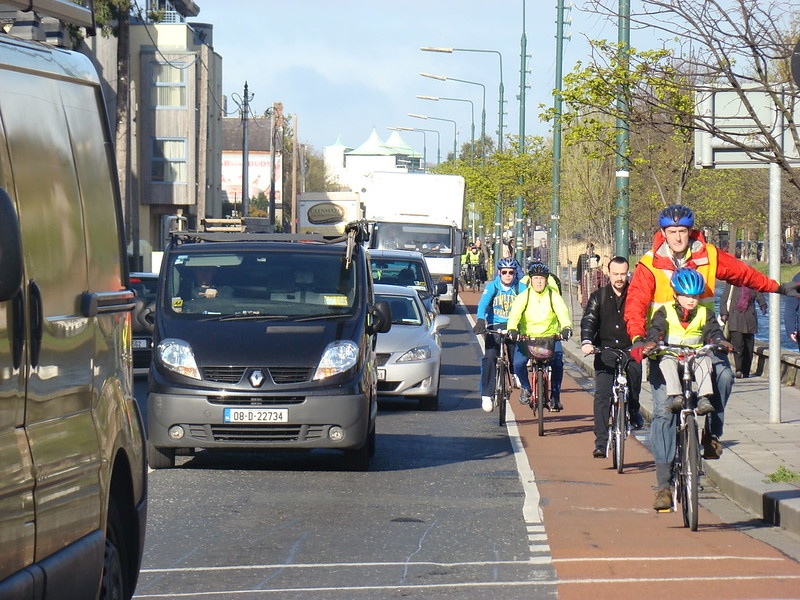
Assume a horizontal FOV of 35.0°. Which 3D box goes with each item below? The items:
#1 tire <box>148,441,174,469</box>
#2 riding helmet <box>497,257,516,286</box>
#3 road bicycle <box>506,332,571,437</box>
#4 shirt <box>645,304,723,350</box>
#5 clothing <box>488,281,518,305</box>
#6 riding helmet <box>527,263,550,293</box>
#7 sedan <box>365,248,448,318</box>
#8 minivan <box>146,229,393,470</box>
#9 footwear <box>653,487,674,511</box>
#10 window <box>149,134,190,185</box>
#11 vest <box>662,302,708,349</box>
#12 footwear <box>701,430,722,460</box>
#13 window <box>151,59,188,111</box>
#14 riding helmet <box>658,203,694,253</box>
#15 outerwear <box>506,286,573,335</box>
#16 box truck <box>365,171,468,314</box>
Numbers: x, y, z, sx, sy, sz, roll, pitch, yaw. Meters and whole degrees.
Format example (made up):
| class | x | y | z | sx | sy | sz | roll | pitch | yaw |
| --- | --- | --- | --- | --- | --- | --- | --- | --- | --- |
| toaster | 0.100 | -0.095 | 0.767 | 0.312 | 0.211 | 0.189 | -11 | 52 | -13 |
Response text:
| class | x | y | z | sx | sy | sz | roll | pitch | yaw |
| --- | --- | --- | --- | --- | --- | --- | --- | --- | --- |
| tire | -2.153 | 1.388 | 11.408 | 0.207 | 0.265 | 0.421 | 1 | -7 | -3 |
| riding helmet | 1.328 | -0.352 | 15.893 | 0.224 | 0.323 | 0.315 | 1 | -1 | -2 |
| road bicycle | 1.582 | 0.859 | 14.698 | 0.507 | 0.742 | 1.191 | 0 | -1 | 1 |
| shirt | 2.175 | 0.210 | 9.758 | 0.502 | 0.317 | 0.315 | -1 | -1 | 8 |
| clothing | 1.286 | -0.083 | 15.815 | 0.200 | 0.283 | 0.143 | 15 | 2 | 0 |
| riding helmet | 1.601 | -0.248 | 14.696 | 0.236 | 0.336 | 0.316 | 0 | 3 | 5 |
| sedan | 0.094 | -0.356 | 22.416 | 1.525 | 1.210 | 2.316 | 0 | -3 | -1 |
| minivan | -1.246 | 0.436 | 12.420 | 1.403 | 1.580 | 2.735 | 0 | -4 | 0 |
| footwear | 2.018 | 1.533 | 9.722 | 0.145 | 0.155 | 0.178 | 1 | 3 | 13 |
| window | -10.002 | -6.105 | 54.784 | 1.915 | 2.632 | 0.258 | 1 | -3 | -12 |
| vest | 2.153 | 0.242 | 9.840 | 0.428 | 0.468 | 0.264 | 0 | -5 | 6 |
| footwear | 2.503 | 1.199 | 10.300 | 0.129 | 0.198 | 0.216 | 1 | -13 | 1 |
| window | -9.953 | -9.400 | 54.758 | 1.889 | 2.628 | 0.251 | 1 | 4 | 1 |
| riding helmet | 2.155 | -0.547 | 9.923 | 0.255 | 0.375 | 0.366 | -1 | -3 | 7 |
| outerwear | 1.605 | 0.167 | 14.651 | 0.766 | 0.716 | 0.507 | 0 | -4 | 6 |
| box truck | 0.473 | -2.102 | 35.347 | 2.215 | 2.391 | 3.907 | 1 | 6 | -1 |
